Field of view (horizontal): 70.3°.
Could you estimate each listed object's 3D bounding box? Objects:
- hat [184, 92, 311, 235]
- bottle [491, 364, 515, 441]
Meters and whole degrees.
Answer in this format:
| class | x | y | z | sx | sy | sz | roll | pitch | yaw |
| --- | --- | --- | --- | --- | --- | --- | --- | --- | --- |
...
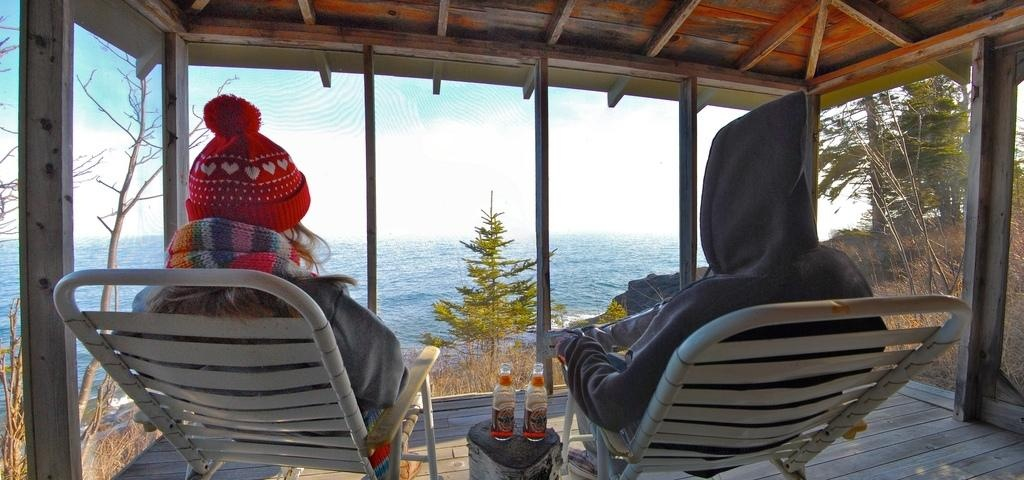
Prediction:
| class | x | y | z | sx | sy | sz | roll | pitch | yaw |
| --- | --- | --- | --- | --- | --- | --- | --- | --- | --- |
| hat | -2.181 | -0.714 | 5.958 | 1.088 | 0.969 | 0.889 | 11 | 22 | 27 |
| bottle | -0.098 | 1.327 | 6.085 | 0.214 | 0.590 | 0.199 | -4 | 1 | 0 |
